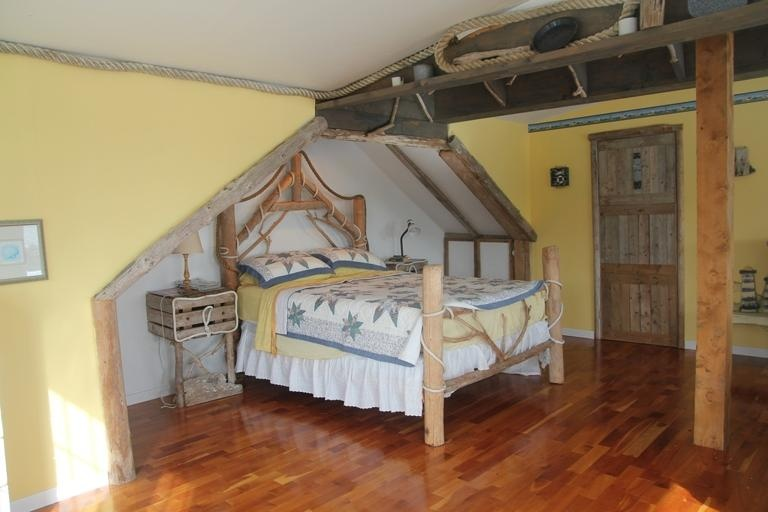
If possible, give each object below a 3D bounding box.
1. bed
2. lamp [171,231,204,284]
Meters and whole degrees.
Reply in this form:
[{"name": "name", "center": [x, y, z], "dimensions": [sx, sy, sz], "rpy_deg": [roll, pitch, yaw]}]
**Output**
[{"name": "bed", "center": [-0.102, 0.174, 6.337], "dimensions": [3.615, 2.406, 2.846], "rpy_deg": [4, 11, 38]}, {"name": "lamp", "center": [-1.930, 0.012, 5.555], "dimensions": [0.266, 0.536, 0.467], "rpy_deg": [-8, 16, -18]}]
